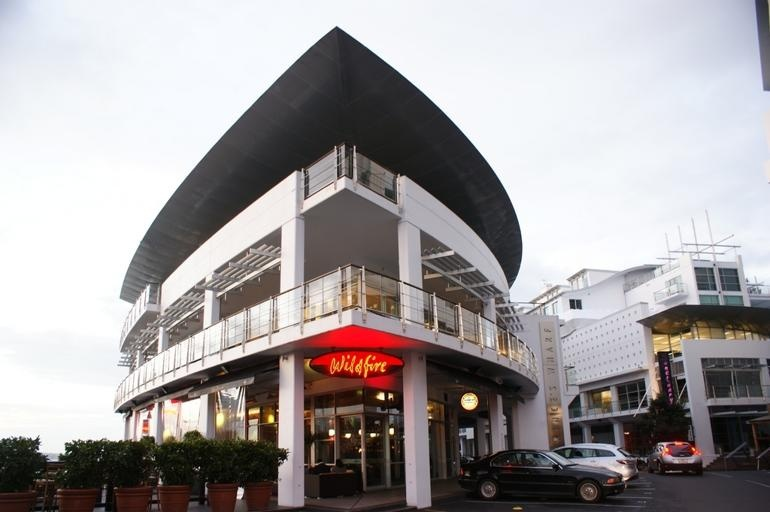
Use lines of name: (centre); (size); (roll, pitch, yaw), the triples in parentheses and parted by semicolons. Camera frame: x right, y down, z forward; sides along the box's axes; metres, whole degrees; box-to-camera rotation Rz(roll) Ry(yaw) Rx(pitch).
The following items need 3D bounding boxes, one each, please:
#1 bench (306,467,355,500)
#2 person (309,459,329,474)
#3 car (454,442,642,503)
bench: (-2.407, 9.170, 23.701); (2.100, 1.007, 1.100); (13, -19, -39)
person: (-2.958, 8.808, 24.596); (0.667, 0.339, 0.918); (13, -21, -40)
car: (6.238, 8.790, 23.725); (6.336, 1.782, 2.442); (-10, -21, 22)
